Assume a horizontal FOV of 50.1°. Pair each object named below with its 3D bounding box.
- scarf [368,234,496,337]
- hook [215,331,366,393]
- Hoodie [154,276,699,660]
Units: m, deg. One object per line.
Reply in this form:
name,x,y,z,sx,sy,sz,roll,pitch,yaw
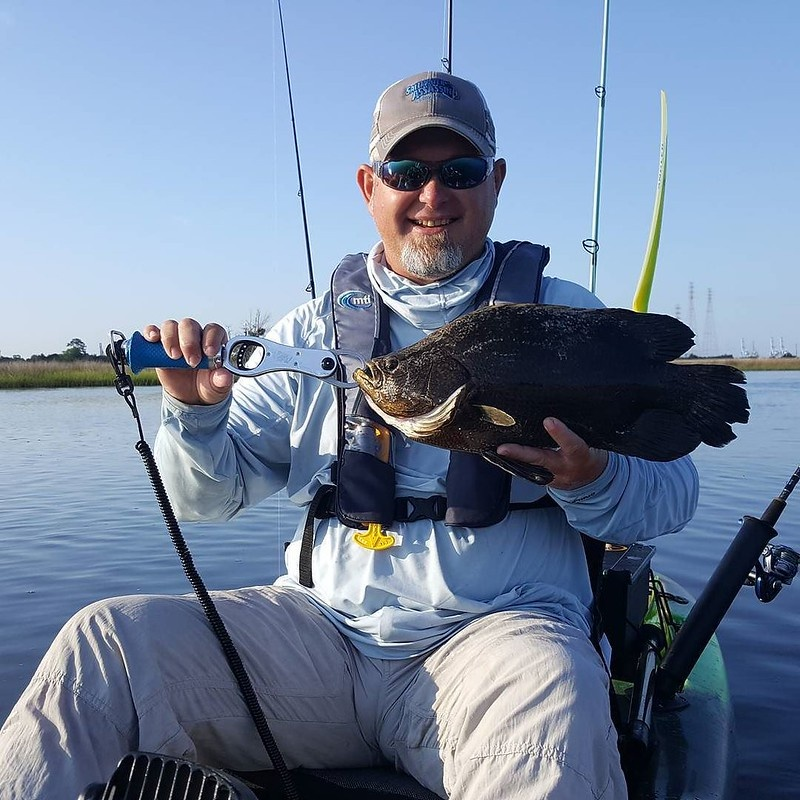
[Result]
scarf,0.218,-0.470,3.352,0.520,0.199,0.439,8,9,-40
hook,-0.392,-0.045,2.877,0.247,0.121,0.779,30,-20,-22
Hoodie,0.141,0.303,2.923,1.935,1.315,0.774,0,-6,20
